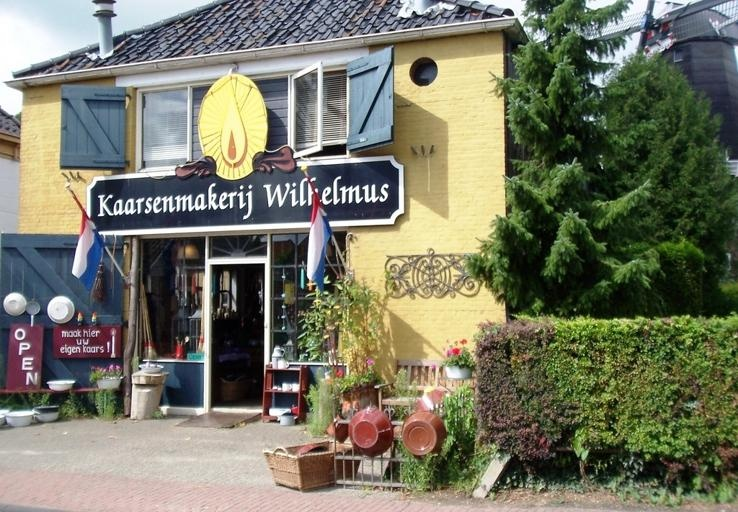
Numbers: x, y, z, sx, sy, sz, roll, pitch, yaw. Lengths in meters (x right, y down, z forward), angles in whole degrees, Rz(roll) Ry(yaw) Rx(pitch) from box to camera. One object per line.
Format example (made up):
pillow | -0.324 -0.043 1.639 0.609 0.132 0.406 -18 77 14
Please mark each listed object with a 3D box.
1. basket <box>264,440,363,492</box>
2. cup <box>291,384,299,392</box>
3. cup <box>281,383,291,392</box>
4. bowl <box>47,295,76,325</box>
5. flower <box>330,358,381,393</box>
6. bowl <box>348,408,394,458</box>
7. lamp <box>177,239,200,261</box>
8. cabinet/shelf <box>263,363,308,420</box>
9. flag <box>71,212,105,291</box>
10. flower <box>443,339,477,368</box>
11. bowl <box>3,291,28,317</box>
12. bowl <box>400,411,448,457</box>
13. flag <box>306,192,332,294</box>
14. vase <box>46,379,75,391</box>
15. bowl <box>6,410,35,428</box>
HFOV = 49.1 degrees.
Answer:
basket | -0.886 3.455 13.462 1.172 0.615 0.820 8 -16 -41
cup | -1.507 2.695 16.578 0.134 0.145 0.124 3 -3 0
cup | -1.694 2.697 16.659 0.176 0.144 0.104 0 -3 15
bowl | -6.662 1.177 17.543 0.551 0.597 0.228 -1 8 3
flower | -0.203 2.245 15.331 0.480 0.245 0.686 -4 2 43
bowl | 0.040 2.851 13.069 0.655 0.733 0.311 13 4 14
lamp | -3.927 -0.134 17.610 0.541 0.445 0.153 2 9 24
cabinet/shelf | -1.689 2.812 16.638 0.935 1.371 0.695 -1 -6 15
flag | -5.937 -0.105 17.180 0.550 1.648 0.599 -1 4 4
flower | 1.668 1.770 14.559 0.455 0.349 0.470 7 -4 -35
bowl | -7.658 1.055 17.545 0.499 0.508 0.172 -1 8 2
bowl | 0.883 2.882 13.003 0.700 0.751 0.245 -1 8 4
flag | -0.972 -0.246 15.762 0.441 2.000 0.462 2 3 24
vase | -6.626 2.779 17.390 0.579 0.263 0.365 -3 9 -5
bowl | -7.224 3.367 16.754 0.541 0.284 0.394 -5 9 -20
